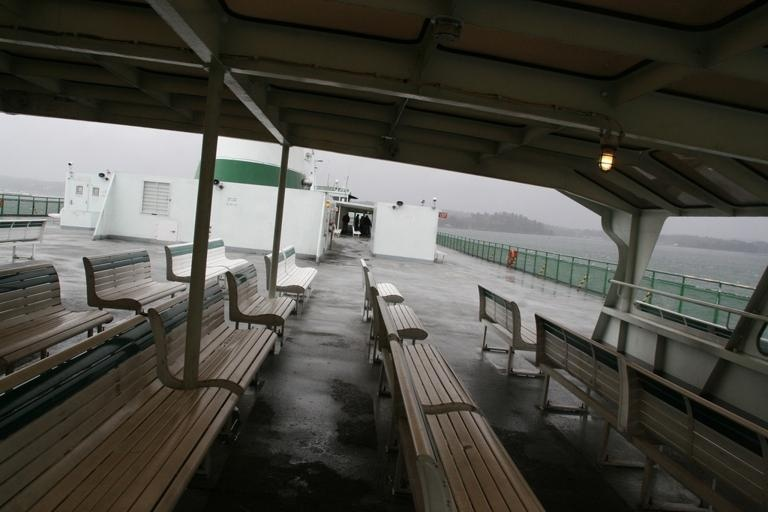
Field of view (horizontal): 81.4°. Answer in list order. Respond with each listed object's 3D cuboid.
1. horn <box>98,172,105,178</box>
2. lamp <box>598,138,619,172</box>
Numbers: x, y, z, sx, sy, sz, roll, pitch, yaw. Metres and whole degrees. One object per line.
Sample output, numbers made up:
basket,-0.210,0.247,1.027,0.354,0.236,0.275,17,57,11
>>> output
horn,-12.149,-3.385,19.158,0.281,0.250,0.566,0,9,-35
lamp,2.463,-1.081,4.901,0.146,0.328,0.447,9,8,24
